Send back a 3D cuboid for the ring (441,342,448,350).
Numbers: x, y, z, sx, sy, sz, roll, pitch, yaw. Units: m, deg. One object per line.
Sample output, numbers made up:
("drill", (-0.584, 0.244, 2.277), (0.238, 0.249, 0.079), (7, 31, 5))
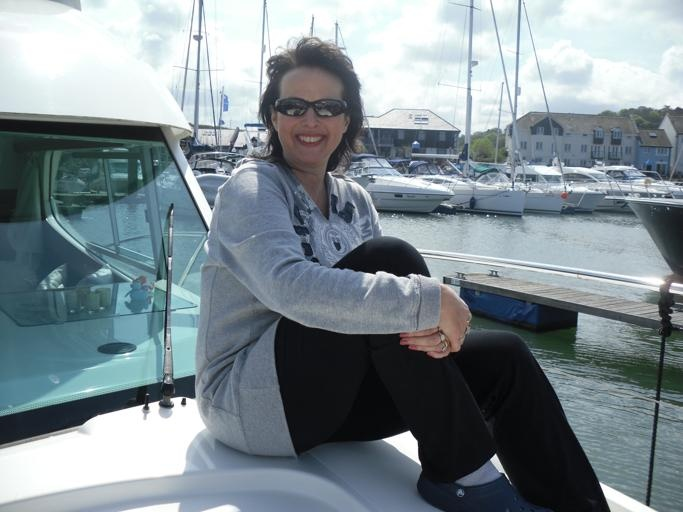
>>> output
("ring", (0.255, 0.224, 1.183), (0.019, 0.019, 0.005), (-8, -4, 28))
